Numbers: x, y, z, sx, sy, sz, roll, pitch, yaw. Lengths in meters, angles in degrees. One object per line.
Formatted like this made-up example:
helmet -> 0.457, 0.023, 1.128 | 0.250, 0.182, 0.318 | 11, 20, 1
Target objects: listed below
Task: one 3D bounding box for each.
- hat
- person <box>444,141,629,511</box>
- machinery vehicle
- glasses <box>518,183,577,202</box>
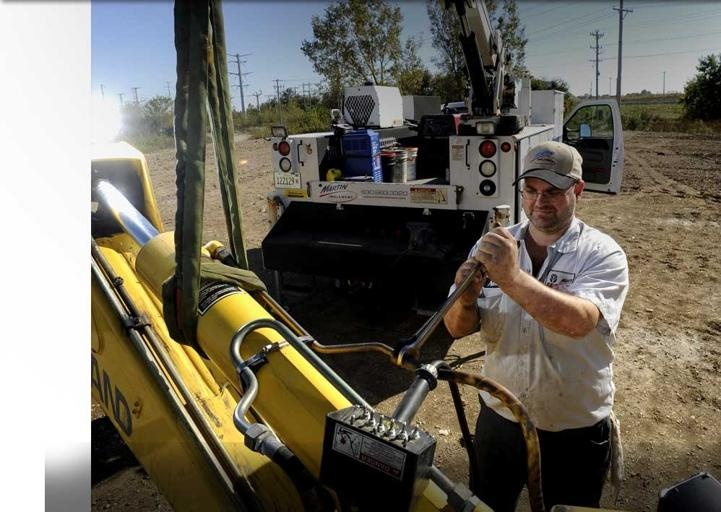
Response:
hat -> 0.898, -0.442, 2.239 | 0.285, 0.220, 0.430 | 11, 11, 40
person -> 0.821, 0.383, 2.174 | 0.758, 1.738, 0.571 | -6, 15, -6
machinery vehicle -> 1.720, -0.961, 7.344 | 3.846, 3.992, 6.790 | 6, 23, 25
glasses -> 0.843, -0.288, 2.155 | 0.195, 0.064, 0.065 | 6, 18, 32
